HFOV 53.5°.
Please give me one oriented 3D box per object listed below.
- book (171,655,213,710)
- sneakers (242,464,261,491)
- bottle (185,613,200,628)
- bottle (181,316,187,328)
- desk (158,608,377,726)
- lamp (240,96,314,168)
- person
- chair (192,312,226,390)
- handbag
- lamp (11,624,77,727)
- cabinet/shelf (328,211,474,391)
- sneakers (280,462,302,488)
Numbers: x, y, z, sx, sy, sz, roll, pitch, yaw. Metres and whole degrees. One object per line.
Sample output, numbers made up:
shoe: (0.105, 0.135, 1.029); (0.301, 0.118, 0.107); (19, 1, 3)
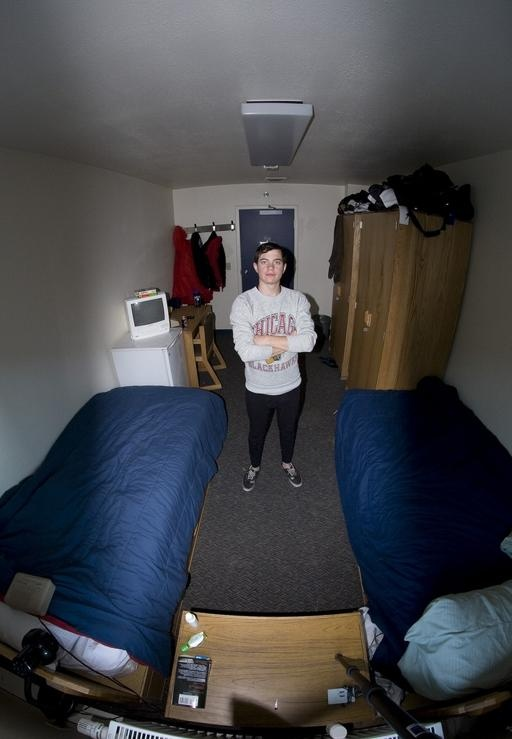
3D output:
book: (-0.220, 1.073, 1.751); (0.121, 0.065, 0.143); (-1, 23, 5)
sneakers: (-0.035, 0.636, 2.977); (0.059, 0.071, 0.176); (5, 7, 4)
bottle: (-0.239, 0.933, 1.895); (0.038, 0.052, 0.051); (-2, -22, -16)
bottle: (-0.575, -0.387, 4.116); (0.062, 0.027, 0.105); (-6, 54, -14)
desk: (0.036, 1.037, 1.778); (0.537, 0.361, 0.302); (1, 49, 5)
lamp: (0.092, -1.084, 2.180); (0.268, 0.092, 0.395); (-3, -8, -1)
person: (0.084, 0.043, 2.627); (0.405, 1.311, 0.377); (-8, 22, -15)
chair: (-0.421, -0.150, 4.511); (0.267, 0.458, 0.684); (-1, 27, 4)
handbag: (0.917, -0.889, 2.750); (0.339, 0.147, 0.339); (-16, 50, -46)
lamp: (-0.662, 0.954, 1.589); (0.131, 0.283, 0.166); (-31, 16, 44)
cabinet/shelf: (0.923, -0.420, 3.165); (0.401, 1.162, 1.218); (1, 18, -1)
sneakers: (0.221, 0.622, 3.003); (0.067, 0.066, 0.175); (-5, 12, -11)
